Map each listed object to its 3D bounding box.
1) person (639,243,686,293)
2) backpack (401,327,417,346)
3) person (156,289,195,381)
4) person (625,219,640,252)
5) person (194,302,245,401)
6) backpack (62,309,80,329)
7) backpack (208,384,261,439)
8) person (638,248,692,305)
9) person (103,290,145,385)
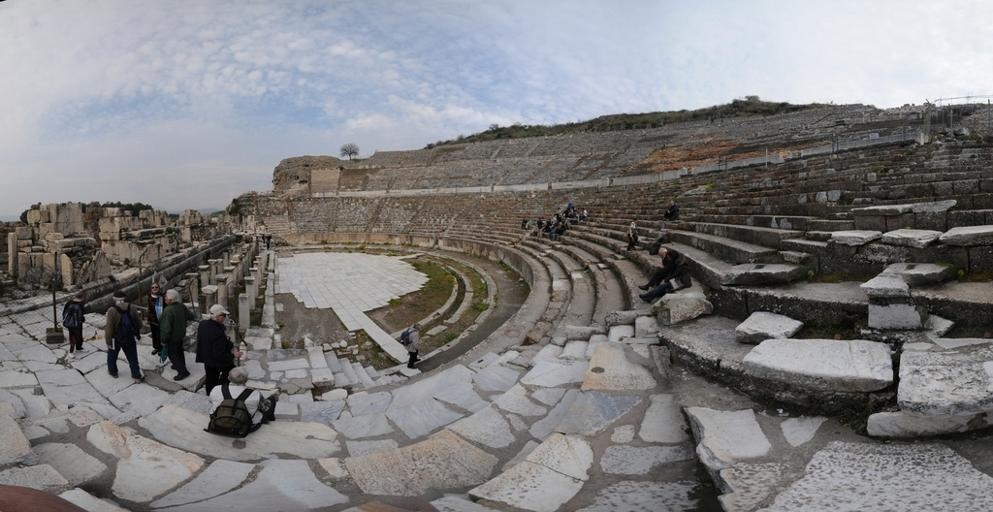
[{"bbox_3d":[3.666,0.283,10.393,1.344,0.866,0.792,-14,11,5],"label":"person"},{"bbox_3d":[-2.168,2.005,11.599,0.263,0.522,0.668,-7,11,-15],"label":"backpack"},{"bbox_3d":[-6.382,1.546,9.330,0.575,1.717,0.697,-7,12,-12],"label":"person"},{"bbox_3d":[4.273,-0.626,14.819,0.363,0.853,0.836,-1,10,14],"label":"person"},{"bbox_3d":[-5.376,1.784,8.996,0.659,1.679,0.774,-7,12,-16],"label":"person"},{"bbox_3d":[-8.432,1.231,9.408,0.292,0.364,0.215,-12,14,-39],"label":"backpack"},{"bbox_3d":[-4.466,2.696,8.080,1.022,0.725,0.488,3,-20,-20],"label":"backpack"},{"bbox_3d":[3.682,0.403,10.247,0.709,1.223,0.927,-9,12,-25],"label":"person"},{"bbox_3d":[-7.275,1.551,9.158,0.640,1.668,1.009,-12,14,-34],"label":"person"}]
